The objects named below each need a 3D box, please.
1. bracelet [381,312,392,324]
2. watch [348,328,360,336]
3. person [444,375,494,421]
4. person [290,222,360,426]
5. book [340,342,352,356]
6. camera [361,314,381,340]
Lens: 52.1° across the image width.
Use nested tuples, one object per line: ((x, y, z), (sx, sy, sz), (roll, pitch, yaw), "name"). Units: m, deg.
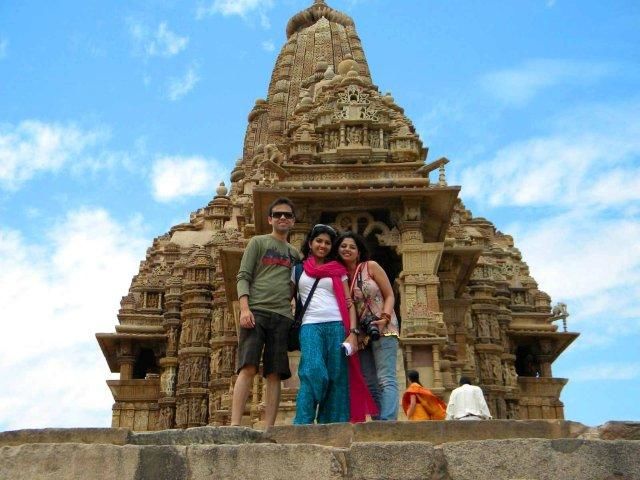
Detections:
((0.530, 0.624, 5.248), (0.054, 0.065, 0.084), (9, -5, -31), "bracelet")
((0.269, 0.722, 5.185), (0.072, 0.037, 0.064), (-1, -26, 2), "watch")
((1.738, 1.887, 7.668), (0.472, 0.533, 1.230), (6, -8, 12), "person")
((0.064, 0.646, 5.251), (0.576, 1.597, 0.619), (12, -10, -14), "person")
((0.240, 0.852, 5.144), (0.117, 0.119, 0.141), (-2, -14, 17), "book")
((0.397, 0.685, 5.202), (0.177, 0.176, 0.107), (35, -74, -31), "camera")
